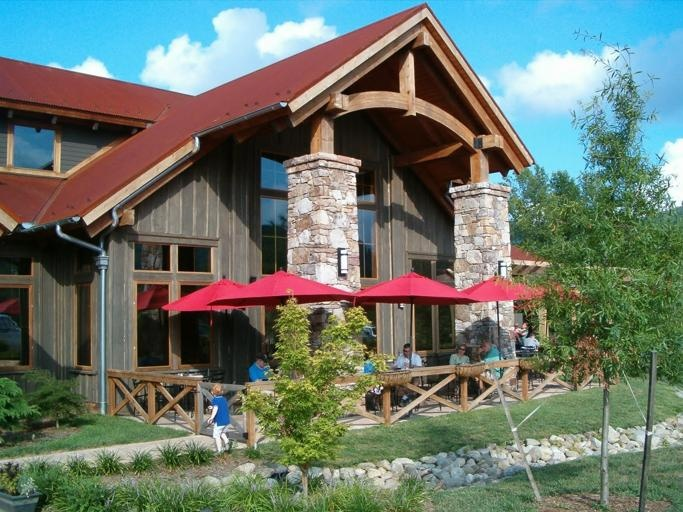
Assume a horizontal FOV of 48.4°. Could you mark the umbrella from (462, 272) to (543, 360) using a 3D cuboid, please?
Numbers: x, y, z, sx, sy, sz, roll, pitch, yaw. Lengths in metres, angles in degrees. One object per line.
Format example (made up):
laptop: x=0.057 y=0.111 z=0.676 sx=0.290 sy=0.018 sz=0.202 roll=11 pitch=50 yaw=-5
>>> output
umbrella: x=4.072 y=1.539 z=19.803 sx=2.233 sy=1.910 sz=2.634 roll=-2 pitch=-2 yaw=23

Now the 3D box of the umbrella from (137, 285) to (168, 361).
umbrella: x=-4.825 y=1.764 z=19.509 sx=0.811 sy=2.053 sz=0.422 roll=1 pitch=-9 yaw=-19

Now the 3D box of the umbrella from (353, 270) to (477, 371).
umbrella: x=1.574 y=1.789 z=19.533 sx=2.600 sy=2.024 sz=2.577 roll=1 pitch=0 yaw=-40

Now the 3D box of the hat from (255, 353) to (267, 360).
hat: x=-1.999 y=2.495 z=18.829 sx=0.302 sy=0.175 sz=0.234 roll=1 pitch=-4 yaw=17

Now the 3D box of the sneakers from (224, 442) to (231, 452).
sneakers: x=-2.315 y=3.909 z=15.583 sx=0.110 sy=0.153 sz=0.369 roll=-1 pitch=-10 yaw=-7

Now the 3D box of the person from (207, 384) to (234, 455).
person: x=-2.566 y=3.386 z=15.991 sx=0.483 sy=1.393 sz=1.319 roll=0 pitch=-9 yaw=-11
